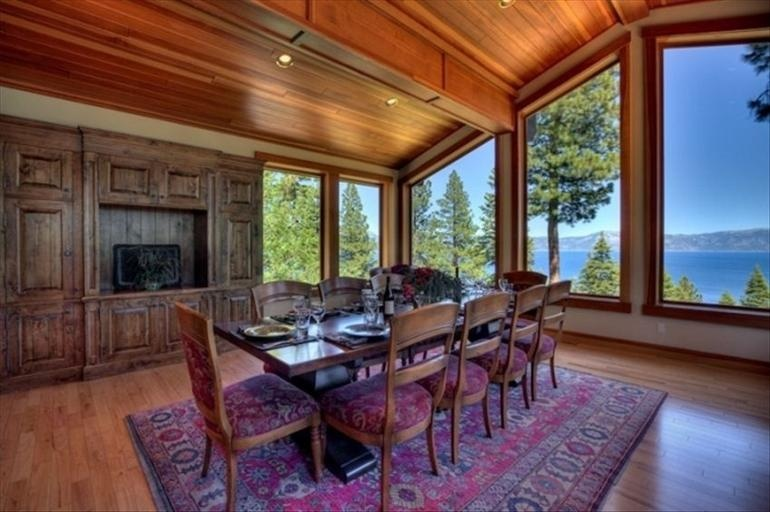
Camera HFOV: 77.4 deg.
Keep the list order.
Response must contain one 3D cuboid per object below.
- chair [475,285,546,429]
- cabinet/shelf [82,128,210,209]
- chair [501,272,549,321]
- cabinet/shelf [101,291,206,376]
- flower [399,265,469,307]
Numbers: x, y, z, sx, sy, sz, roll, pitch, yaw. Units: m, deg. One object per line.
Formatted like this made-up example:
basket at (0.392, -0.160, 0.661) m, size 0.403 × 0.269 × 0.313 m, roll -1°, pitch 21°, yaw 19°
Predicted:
chair at (1.308, 0.908, 4.909) m, size 0.771 × 1.101 × 0.670 m, roll -4°, pitch -8°, yaw 4°
cabinet/shelf at (-2.845, -1.014, 5.908) m, size 1.427 × 0.847 × 0.530 m, roll 1°, pitch 14°, yaw -38°
chair at (1.706, 0.468, 5.889) m, size 0.592 × 0.817 × 0.587 m, roll 1°, pitch 4°, yaw 29°
cabinet/shelf at (-2.621, 0.856, 5.273) m, size 1.006 × 0.800 × 0.349 m, roll 0°, pitch -1°, yaw -43°
flower at (0.464, 0.305, 4.876) m, size 0.586 × 0.406 × 0.553 m, roll -6°, pitch 4°, yaw -6°
